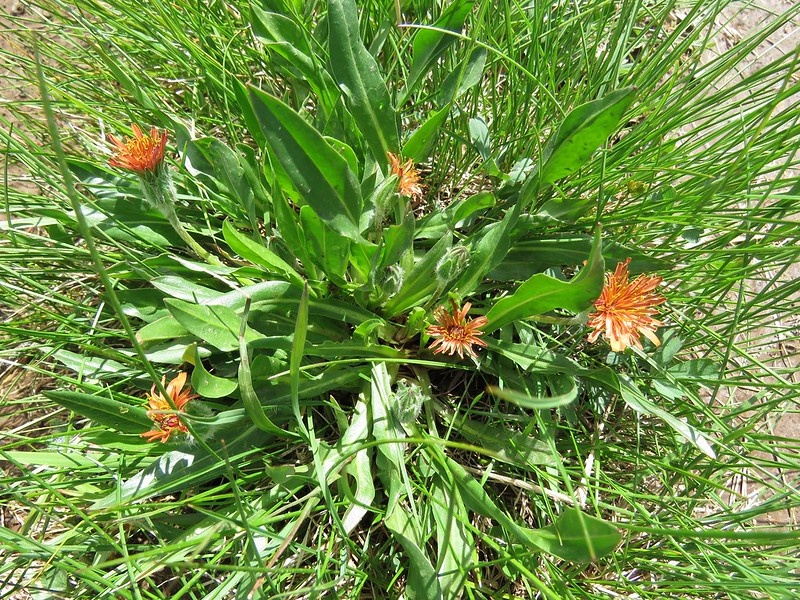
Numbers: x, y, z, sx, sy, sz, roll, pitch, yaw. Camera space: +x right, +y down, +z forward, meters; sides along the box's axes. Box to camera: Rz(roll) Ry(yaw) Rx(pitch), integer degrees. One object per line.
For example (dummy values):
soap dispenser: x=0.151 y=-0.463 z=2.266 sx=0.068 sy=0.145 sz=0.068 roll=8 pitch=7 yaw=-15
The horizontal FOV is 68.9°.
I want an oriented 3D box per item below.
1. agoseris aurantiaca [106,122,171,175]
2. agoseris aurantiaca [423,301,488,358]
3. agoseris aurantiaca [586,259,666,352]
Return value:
agoseris aurantiaca: x=-0.713 y=-0.403 z=1.616 sx=0.221 sy=0.082 sz=0.184 roll=-6 pitch=43 yaw=-9
agoseris aurantiaca: x=0.144 y=0.066 z=1.527 sx=0.182 sy=0.060 sz=0.166 roll=5 pitch=20 yaw=-15
agoseris aurantiaca: x=0.549 y=0.018 z=1.474 sx=0.170 sy=0.227 sz=0.195 roll=7 pitch=-11 yaw=-2
